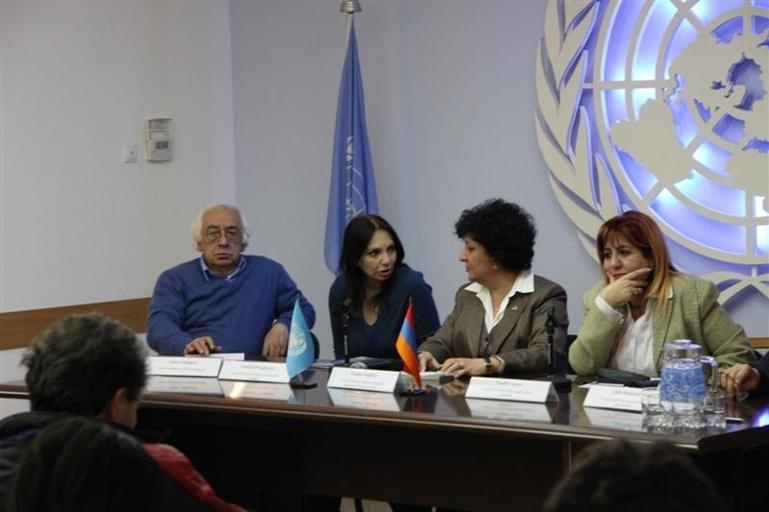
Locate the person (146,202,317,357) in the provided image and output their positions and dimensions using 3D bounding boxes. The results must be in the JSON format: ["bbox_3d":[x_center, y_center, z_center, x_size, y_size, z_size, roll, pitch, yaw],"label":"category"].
[{"bbox_3d":[-0.973,0.151,4.235,0.853,1.114,0.616,-1,-19,-19],"label":"person"}]

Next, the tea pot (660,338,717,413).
[{"bbox_3d":[1.083,0.402,2.311,0.246,0.257,0.150,-2,-5,35],"label":"tea pot"}]

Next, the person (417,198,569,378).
[{"bbox_3d":[0.591,0.197,3.554,0.808,0.867,0.775,8,-9,-37],"label":"person"}]

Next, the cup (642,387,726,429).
[{"bbox_3d":[0.999,0.486,2.296,0.199,0.074,0.149,-2,-4,39],"label":"cup"}]

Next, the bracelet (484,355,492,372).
[{"bbox_3d":[0.466,0.482,3.058,0.032,0.051,0.052,1,17,0],"label":"bracelet"}]

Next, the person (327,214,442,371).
[{"bbox_3d":[-0.026,0.341,3.889,0.613,1.153,0.555,-1,22,6],"label":"person"}]
